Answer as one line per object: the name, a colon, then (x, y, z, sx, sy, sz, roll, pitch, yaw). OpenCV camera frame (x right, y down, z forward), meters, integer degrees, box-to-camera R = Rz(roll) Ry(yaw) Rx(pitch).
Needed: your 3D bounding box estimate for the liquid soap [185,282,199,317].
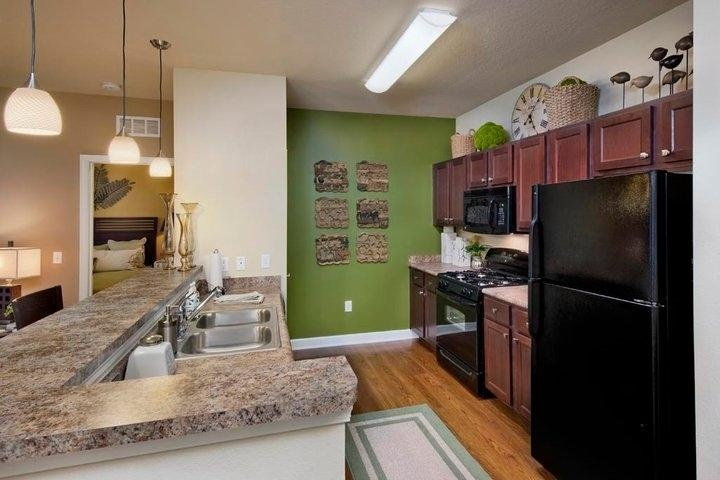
liquid soap: (-1.178, 0.423, 3.444, 0.081, 0.107, 0.274, -1, 5, -16)

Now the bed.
bed: (-3.612, -0.025, 7.499, 1.136, 0.895, 1.515, -4, 11, -31)

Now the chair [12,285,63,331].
chair: (-2.495, 0.548, 3.872, 0.344, 0.227, 0.194, -21, -17, 1)

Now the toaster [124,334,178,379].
toaster: (-1.141, 0.591, 2.657, 0.232, 0.238, 0.268, -1, -1, -15)

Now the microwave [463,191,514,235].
microwave: (1.316, -0.271, 4.698, 0.354, 0.433, 0.647, -2, 4, -26)

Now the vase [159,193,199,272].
vase: (-1.599, -0.066, 4.218, 0.374, 0.674, 0.499, -3, 14, -6)

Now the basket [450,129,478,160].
basket: (1.129, -1.034, 5.260, 0.262, 0.301, 0.318, -1, -4, 17)

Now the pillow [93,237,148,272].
pillow: (-3.246, 0.203, 6.471, 0.474, 0.138, 0.472, -5, 39, -21)

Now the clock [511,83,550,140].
clock: (1.602, -1.170, 4.530, 0.049, 0.541, 0.557, 4, -1, -20)

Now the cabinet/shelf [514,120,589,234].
cabinet/shelf: (1.506, -0.514, 4.142, 0.911, 0.848, 0.327, -11, 14, -22)

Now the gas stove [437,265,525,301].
gas stove: (0.982, 0.430, 4.567, 0.537, 0.162, 0.412, 14, 14, 34)

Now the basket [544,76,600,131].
basket: (1.668, -1.058, 3.914, 0.432, 0.401, 0.420, -6, 7, -24)

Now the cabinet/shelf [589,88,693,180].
cabinet/shelf: (2.089, -0.701, 3.429, 0.435, 0.476, 0.803, 0, 0, -24)

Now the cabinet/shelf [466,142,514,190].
cabinet/shelf: (1.325, -0.692, 4.673, 0.249, 0.378, 0.715, -2, 1, -25)
